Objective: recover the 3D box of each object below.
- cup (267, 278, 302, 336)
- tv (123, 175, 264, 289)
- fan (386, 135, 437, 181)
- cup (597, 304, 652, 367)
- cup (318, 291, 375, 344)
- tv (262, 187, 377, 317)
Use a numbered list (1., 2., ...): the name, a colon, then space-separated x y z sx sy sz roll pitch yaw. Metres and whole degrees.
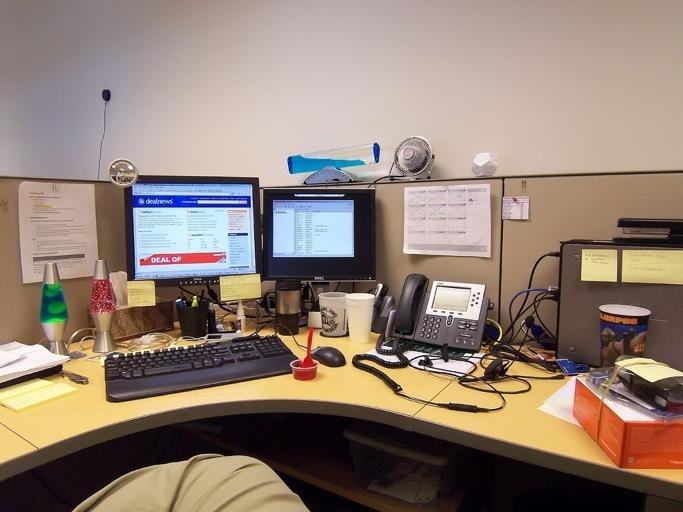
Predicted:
1. cup: -0.215 0.193 1.866 0.150 0.200 0.116 -5 9 -36
2. tv: -0.563 -0.096 1.820 0.419 0.351 0.044 -1 3 -11
3. fan: 0.314 -0.432 2.176 0.210 0.183 0.258 -1 7 5
4. cup: 0.831 0.249 1.454 0.123 0.194 0.127 1 2 0
5. cup: 0.018 0.209 1.746 0.206 0.148 0.140 3 6 28
6. tv: -0.081 -0.034 1.859 0.493 0.431 0.082 0 5 2
